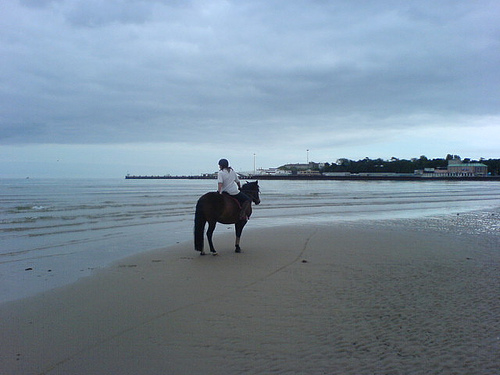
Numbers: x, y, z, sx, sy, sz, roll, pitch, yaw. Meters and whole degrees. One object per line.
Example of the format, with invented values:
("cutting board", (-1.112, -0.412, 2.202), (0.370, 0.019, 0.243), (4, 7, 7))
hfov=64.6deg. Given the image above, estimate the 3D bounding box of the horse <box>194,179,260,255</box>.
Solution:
("horse", (-0.770, 1.011, 13.620), (0.913, 2.500, 3.161), (-2, 0, 44))
